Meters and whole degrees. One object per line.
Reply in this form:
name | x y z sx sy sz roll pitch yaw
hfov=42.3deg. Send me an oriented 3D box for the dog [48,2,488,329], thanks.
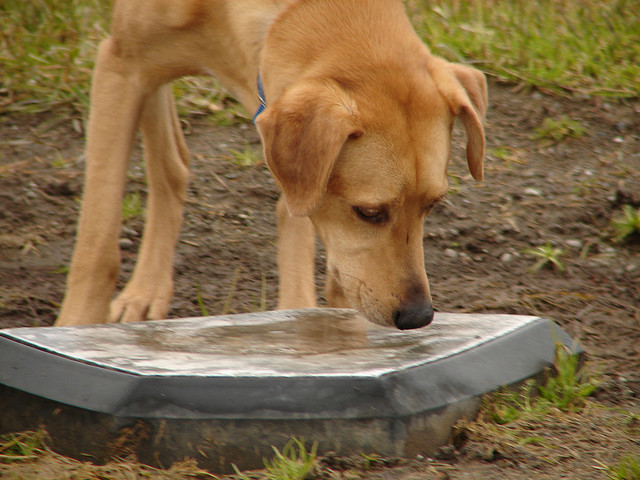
dog | -0.219 -0.299 3.494 1.759 1.298 1.247 12 52 2
